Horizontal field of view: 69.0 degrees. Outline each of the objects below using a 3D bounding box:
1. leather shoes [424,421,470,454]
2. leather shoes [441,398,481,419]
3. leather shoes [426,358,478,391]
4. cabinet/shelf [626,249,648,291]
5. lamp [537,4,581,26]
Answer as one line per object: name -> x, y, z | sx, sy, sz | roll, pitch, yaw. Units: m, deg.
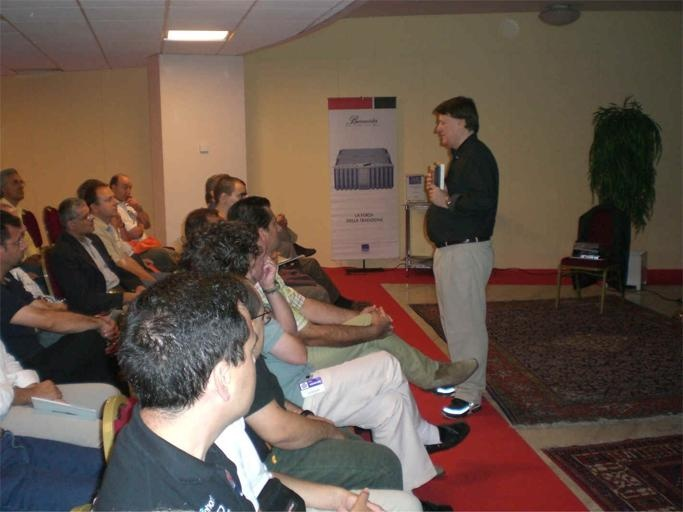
leather shoes -> 0.620, 1.027, 2.880 | 0.328, 0.121, 0.122 | -8, 6, -29
leather shoes -> 0.735, 0.938, 3.115 | 0.241, 0.121, 0.106 | -2, 4, -16
leather shoes -> 0.657, 0.701, 2.941 | 0.213, 0.148, 0.077 | -30, 47, 6
cabinet/shelf -> 3.651, 0.181, 6.167 | 0.249, 0.334, 0.466 | 0, 9, 18
lamp -> 2.964, -3.324, 6.774 | 0.469, 0.189, 0.409 | -7, 12, -30
